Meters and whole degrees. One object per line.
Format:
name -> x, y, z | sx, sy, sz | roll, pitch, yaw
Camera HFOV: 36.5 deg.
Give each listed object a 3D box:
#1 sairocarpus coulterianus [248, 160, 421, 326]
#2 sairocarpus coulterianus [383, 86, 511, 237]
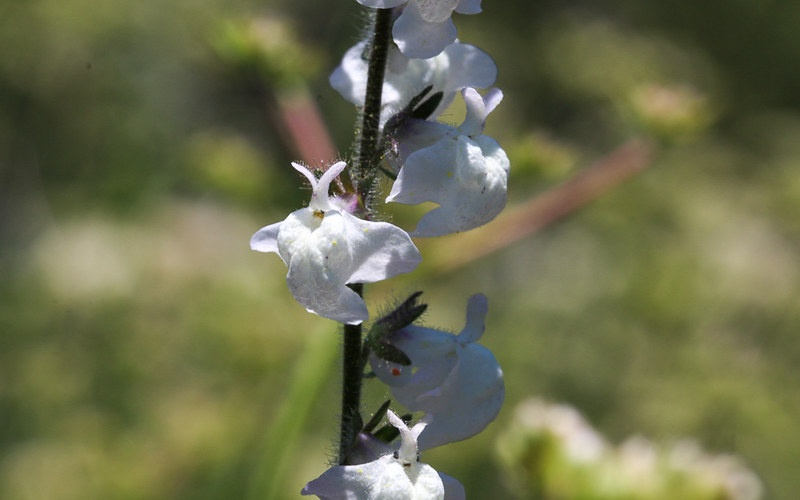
sairocarpus coulterianus -> -0.254, 0.035, 4.861 | 0.233, 0.559, 0.548 | -9, 45, 21
sairocarpus coulterianus -> 0.194, -0.388, 5.066 | 0.487, 0.480, 0.533 | 16, 99, -9
